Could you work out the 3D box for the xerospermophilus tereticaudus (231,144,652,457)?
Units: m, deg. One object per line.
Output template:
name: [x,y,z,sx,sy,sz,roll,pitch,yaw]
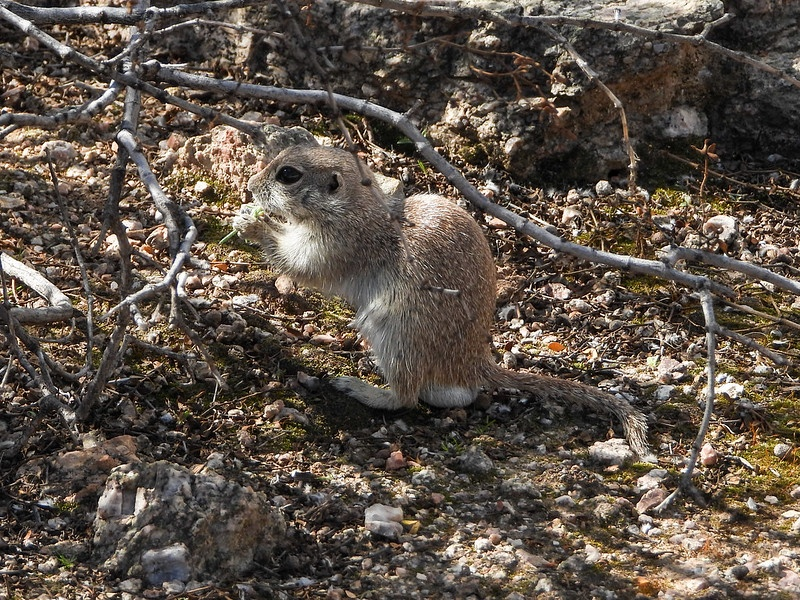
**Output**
xerospermophilus tereticaudus: [0.406,-0.210,7.684,2.696,2.013,2.483,2,15,12]
